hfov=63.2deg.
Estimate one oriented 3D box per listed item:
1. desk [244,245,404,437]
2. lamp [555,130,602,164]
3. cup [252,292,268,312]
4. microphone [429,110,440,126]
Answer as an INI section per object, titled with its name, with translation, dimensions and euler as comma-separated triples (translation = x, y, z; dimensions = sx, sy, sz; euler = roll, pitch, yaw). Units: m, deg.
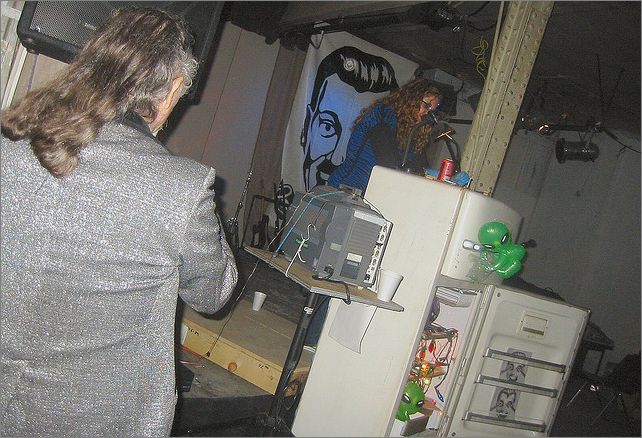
[desk]
translation = 0.033, 0.753, 3.034
dimensions = 0.794, 0.935, 0.648
euler = 27, 4, -29
[lamp]
translation = 3.507, -0.912, 7.089
dimensions = 0.719, 0.395, 0.499
euler = 2, 8, 7
[cup]
translation = -0.518, 0.693, 4.401
dimensions = 0.147, 0.167, 0.156
euler = 5, -3, 0
[microphone]
translation = 0.706, -0.626, 3.247
dimensions = 0.061, 0.084, 0.088
euler = -17, -25, 10
